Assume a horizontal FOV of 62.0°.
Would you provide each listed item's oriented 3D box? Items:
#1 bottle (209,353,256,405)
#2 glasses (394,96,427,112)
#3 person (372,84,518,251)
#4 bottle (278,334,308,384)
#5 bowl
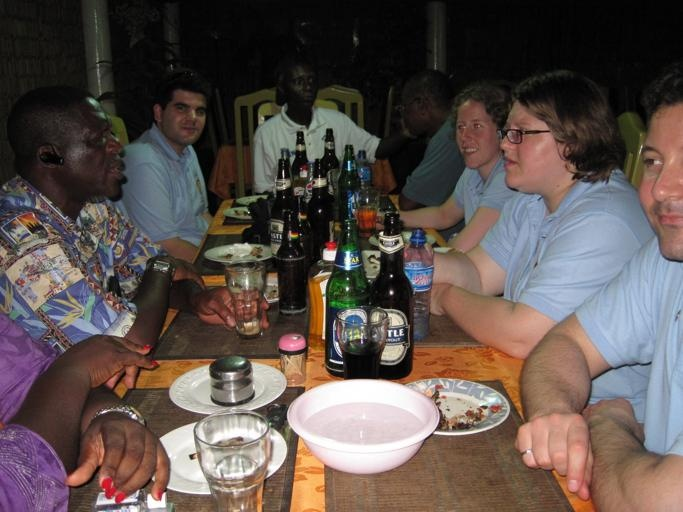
[{"bbox_3d":[-0.277,0.308,1.426,0.126,0.093,0.113,-3,15,-4],"label":"bottle"},{"bbox_3d":[0.492,-1.031,3.952,0.151,0.076,0.174,-7,21,1],"label":"glasses"},{"bbox_3d":[0.566,-0.435,2.971,0.710,0.803,0.766,6,22,38],"label":"person"},{"bbox_3d":[-0.136,0.279,1.512,0.085,0.103,0.076,0,-15,-14],"label":"bottle"},{"bbox_3d":[0.044,0.368,1.188,0.302,0.141,0.212,-2,21,-6],"label":"bowl"}]
